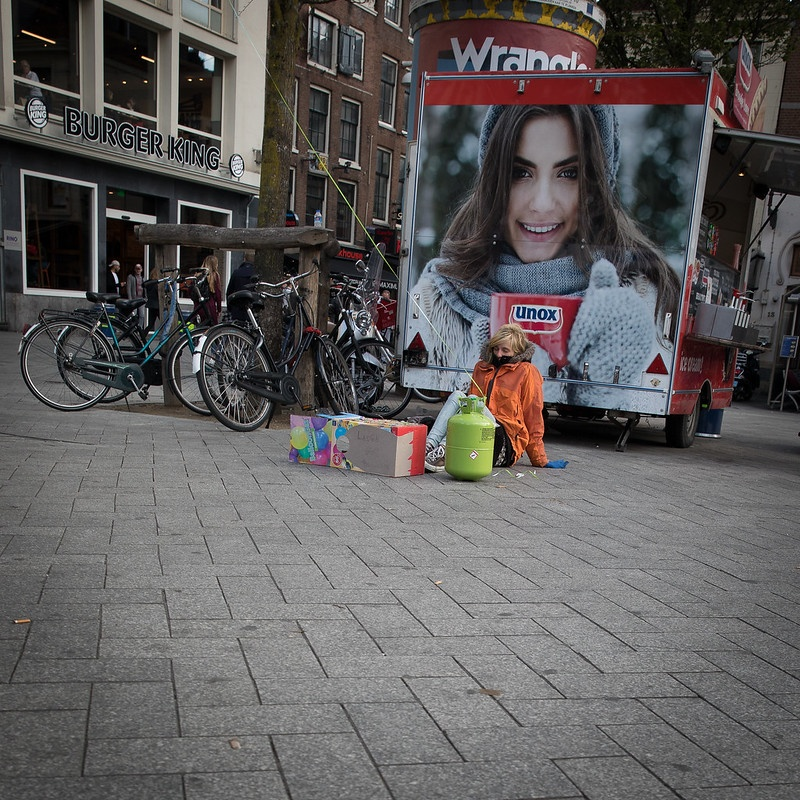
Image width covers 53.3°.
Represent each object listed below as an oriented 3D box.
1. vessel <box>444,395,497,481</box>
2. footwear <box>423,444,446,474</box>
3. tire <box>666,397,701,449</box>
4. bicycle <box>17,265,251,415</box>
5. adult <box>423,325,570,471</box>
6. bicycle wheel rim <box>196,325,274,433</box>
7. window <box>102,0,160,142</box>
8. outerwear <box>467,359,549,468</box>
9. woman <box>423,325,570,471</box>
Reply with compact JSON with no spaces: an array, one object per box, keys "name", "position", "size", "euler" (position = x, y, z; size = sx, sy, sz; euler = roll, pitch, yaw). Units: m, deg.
[{"name":"vessel","position":[0.580,0.319,6.389],"size":[0.396,0.679,0.317],"euler":[3,4,0]},{"name":"footwear","position":[0.295,0.500,6.678],"size":[0.203,0.231,0.121],"euler":[3,4,-16]},{"name":"tire","position":[3.298,0.257,9.300],"size":[0.130,0.463,0.434],"euler":[3,31,33]},{"name":"bicycle","position":[-2.812,-0.681,8.597],"size":[2.341,1.738,1.250],"euler":[-2,6,-20]},{"name":"adult","position":[0.660,-0.019,7.155],"size":[1.097,1.549,1.095],"euler":[7,-2,-40]},{"name":"bicycle wheel rim","position":[-1.569,-0.202,7.655],"size":[0.802,1.058,0.508],"euler":[2,4,-22]},{"name":"window","position":[-7.937,-9.722,23.608],"size":[0.293,3.043,2.063],"euler":[5,4,25]},{"name":"outerwear","position":[0.925,0.130,6.859],"size":[0.772,0.878,0.339],"euler":[9,9,38]},{"name":"woman","position":[0.656,-0.008,7.141],"size":[1.097,1.549,1.095],"euler":[7,-2,-40]}]
